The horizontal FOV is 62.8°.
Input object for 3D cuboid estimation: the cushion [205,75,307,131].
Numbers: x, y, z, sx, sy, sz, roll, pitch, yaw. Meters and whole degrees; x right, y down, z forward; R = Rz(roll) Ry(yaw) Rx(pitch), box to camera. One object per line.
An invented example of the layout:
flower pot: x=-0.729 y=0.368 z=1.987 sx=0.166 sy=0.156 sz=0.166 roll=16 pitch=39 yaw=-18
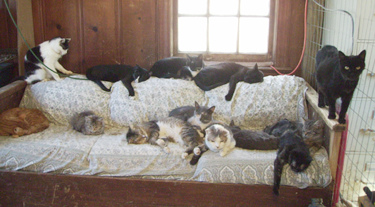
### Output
cushion: x=0.867 y=-0.017 z=3.846 sx=1.038 sy=0.704 sz=0.307 roll=-3 pitch=-22 yaw=4

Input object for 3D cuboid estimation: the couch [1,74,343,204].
couch: x=-0.352 y=0.445 z=3.662 sx=3.823 sy=1.409 sz=0.931 roll=3 pitch=14 yaw=3

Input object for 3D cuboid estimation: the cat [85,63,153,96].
cat: x=-0.887 y=-0.363 z=4.072 sx=0.866 sy=0.412 sz=0.269 roll=11 pitch=5 yaw=-2

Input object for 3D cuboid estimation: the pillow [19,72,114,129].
pillow: x=-1.528 y=-0.047 z=3.944 sx=0.952 sy=0.300 sz=0.638 roll=0 pitch=29 yaw=-4

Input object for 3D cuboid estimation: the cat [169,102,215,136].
cat: x=0.072 y=0.104 z=3.734 sx=0.564 sy=0.287 sz=0.315 roll=22 pitch=22 yaw=20

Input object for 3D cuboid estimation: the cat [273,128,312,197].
cat: x=1.227 y=0.636 z=3.533 sx=0.439 sy=0.405 sz=1.016 roll=4 pitch=20 yaw=17

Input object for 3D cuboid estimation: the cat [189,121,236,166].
cat: x=0.355 y=0.393 z=3.543 sx=0.408 sy=0.324 sz=0.421 roll=3 pitch=14 yaw=0

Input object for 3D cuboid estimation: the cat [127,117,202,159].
cat: x=-0.296 y=0.457 z=3.609 sx=0.632 sy=0.215 sz=0.489 roll=13 pitch=4 yaw=-31

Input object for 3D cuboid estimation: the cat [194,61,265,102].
cat: x=0.513 y=-0.332 z=4.001 sx=0.729 sy=0.349 sz=0.526 roll=-4 pitch=52 yaw=-3

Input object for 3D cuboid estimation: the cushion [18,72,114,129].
cushion: x=-1.518 y=-0.050 z=3.939 sx=0.935 sy=0.289 sz=0.647 roll=0 pitch=37 yaw=-3

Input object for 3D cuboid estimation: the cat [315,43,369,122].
cat: x=1.590 y=-0.230 z=3.352 sx=0.276 sy=0.779 sz=0.484 roll=0 pitch=14 yaw=-11

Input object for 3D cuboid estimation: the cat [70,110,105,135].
cat: x=-1.243 y=0.238 z=3.877 sx=0.376 sy=0.240 sz=0.536 roll=0 pitch=13 yaw=-39

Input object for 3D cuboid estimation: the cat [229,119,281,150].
cat: x=0.785 y=0.354 z=3.659 sx=0.710 sy=0.383 sz=0.207 roll=4 pitch=16 yaw=16
